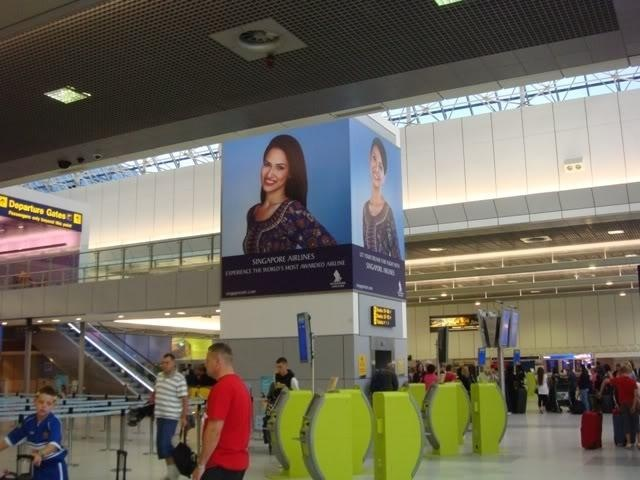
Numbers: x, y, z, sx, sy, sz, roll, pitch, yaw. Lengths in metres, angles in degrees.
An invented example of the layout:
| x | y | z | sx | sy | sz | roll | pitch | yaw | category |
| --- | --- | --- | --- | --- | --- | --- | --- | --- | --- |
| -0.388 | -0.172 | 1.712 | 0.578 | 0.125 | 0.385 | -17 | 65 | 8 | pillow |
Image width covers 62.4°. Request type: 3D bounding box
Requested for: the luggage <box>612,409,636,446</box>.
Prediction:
| x | y | z | sx | sy | sz | roll | pitch | yaw | category |
| --- | --- | --- | --- | --- | --- | --- | --- | --- | --- |
| 6.417 | 3.966 | 11.061 | 0.477 | 0.710 | 0.881 | -7 | -13 | 22 | luggage |

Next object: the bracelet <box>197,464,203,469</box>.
| x | y | z | sx | sy | sz | roll | pitch | yaw | category |
| --- | --- | --- | --- | --- | --- | --- | --- | --- | --- |
| -0.866 | 1.646 | 3.828 | 0.037 | 0.009 | 0.035 | 1 | -5 | 15 | bracelet |

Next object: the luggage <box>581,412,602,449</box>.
| x | y | z | sx | sy | sz | roll | pitch | yaw | category |
| --- | --- | --- | --- | --- | --- | --- | --- | --- | --- |
| 5.531 | 3.880 | 10.767 | 0.438 | 0.723 | 0.375 | -4 | -12 | 9 | luggage |

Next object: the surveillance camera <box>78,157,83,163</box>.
| x | y | z | sx | sy | sz | roll | pitch | yaw | category |
| --- | --- | --- | --- | --- | --- | --- | --- | --- | --- |
| -3.078 | -1.029 | 6.800 | 0.069 | 0.015 | 0.060 | 8 | -22 | -32 | surveillance camera |
